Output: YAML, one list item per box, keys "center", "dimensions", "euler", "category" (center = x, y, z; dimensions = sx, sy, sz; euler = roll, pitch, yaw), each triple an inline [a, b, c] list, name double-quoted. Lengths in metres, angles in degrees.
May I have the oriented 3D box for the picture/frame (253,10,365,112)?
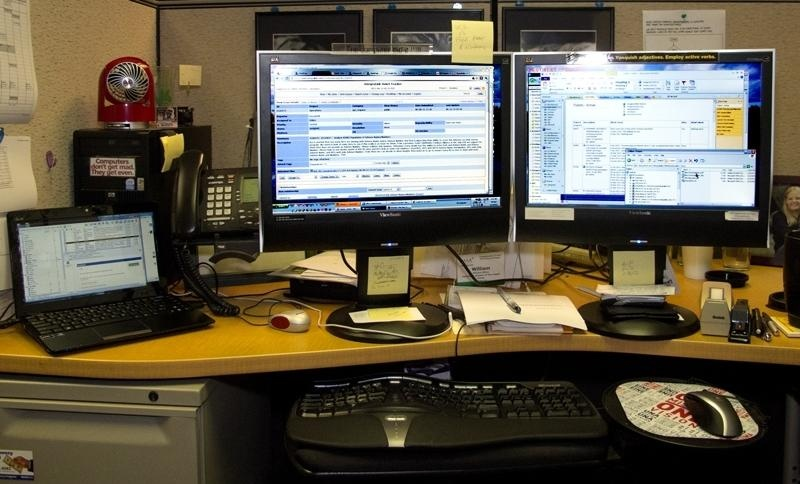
- center: [-0.243, -0.516, 1.785]
  dimensions: [0.555, 0.246, 0.021]
  euler: [0, 14, 1]
  category: "picture/frame"

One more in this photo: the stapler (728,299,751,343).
- center: [0.851, 0.194, 1.603]
  dimensions: [0.044, 0.060, 0.131]
  euler: [10, 43, 24]
  category: "stapler"

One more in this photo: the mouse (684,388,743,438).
- center: [0.742, 0.412, 1.507]
  dimensions: [0.105, 0.060, 0.135]
  euler: [-2, 11, 6]
  category: "mouse"

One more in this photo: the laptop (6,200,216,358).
- center: [-0.770, 0.069, 1.654]
  dimensions: [0.470, 0.260, 0.443]
  euler: [-1, 12, -43]
  category: "laptop"

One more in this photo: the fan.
- center: [-0.825, -0.447, 1.896]
  dimensions: [0.164, 0.206, 0.076]
  euler: [-8, 13, -21]
  category: "fan"

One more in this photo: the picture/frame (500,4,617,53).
- center: [0.509, -0.698, 2.058]
  dimensions: [0.367, 0.150, 0.024]
  euler: [-2, 13, 3]
  category: "picture/frame"

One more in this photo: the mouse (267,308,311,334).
- center: [-0.277, 0.206, 1.611]
  dimensions: [0.088, 0.030, 0.058]
  euler: [-2, -2, 28]
  category: "mouse"
